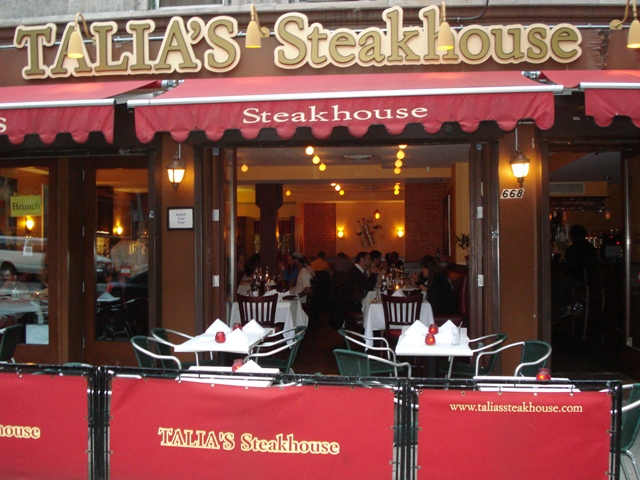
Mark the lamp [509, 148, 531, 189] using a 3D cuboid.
[{"bbox_3d":[2.454,-0.862,9.400,0.233,0.440,0.362,1,8,15],"label":"lamp"}]

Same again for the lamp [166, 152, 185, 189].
[{"bbox_3d":[-1.788,-0.843,9.527,0.217,0.423,0.231,1,4,-18],"label":"lamp"}]

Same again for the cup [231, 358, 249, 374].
[{"bbox_3d":[-0.697,1.073,6.676,0.110,0.182,0.157,-2,-15,-3],"label":"cup"}]

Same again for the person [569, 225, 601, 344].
[{"bbox_3d":[4.406,0.666,12.740,0.553,1.737,1.144,1,7,21],"label":"person"}]

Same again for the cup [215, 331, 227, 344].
[{"bbox_3d":[-1.048,1.022,8.068,0.113,0.129,0.186,-3,8,-8],"label":"cup"}]

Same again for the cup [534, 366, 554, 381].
[{"bbox_3d":[1.867,1.137,6.361,0.161,0.130,0.176,-1,-2,0],"label":"cup"}]

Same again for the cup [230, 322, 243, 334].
[{"bbox_3d":[-0.901,0.951,8.292,0.091,0.101,0.098,-3,12,1],"label":"cup"}]
